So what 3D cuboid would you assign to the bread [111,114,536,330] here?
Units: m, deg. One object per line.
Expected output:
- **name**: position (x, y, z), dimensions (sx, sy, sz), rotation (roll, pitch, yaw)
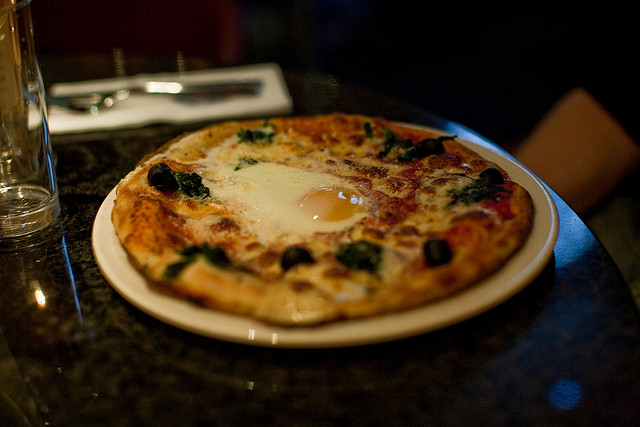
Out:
- **bread**: position (-0.005, -0.043, 1.353), dimensions (1.006, 0.169, 0.754), rotation (-2, 49, -9)
